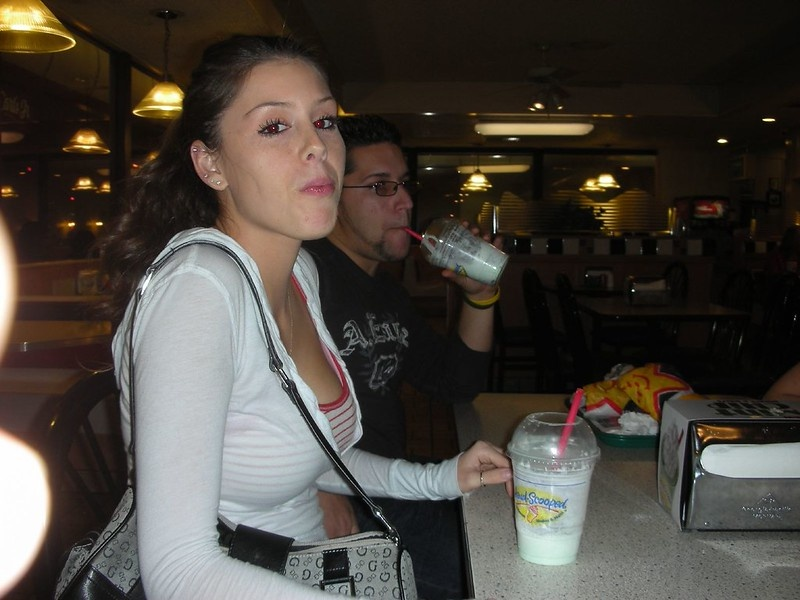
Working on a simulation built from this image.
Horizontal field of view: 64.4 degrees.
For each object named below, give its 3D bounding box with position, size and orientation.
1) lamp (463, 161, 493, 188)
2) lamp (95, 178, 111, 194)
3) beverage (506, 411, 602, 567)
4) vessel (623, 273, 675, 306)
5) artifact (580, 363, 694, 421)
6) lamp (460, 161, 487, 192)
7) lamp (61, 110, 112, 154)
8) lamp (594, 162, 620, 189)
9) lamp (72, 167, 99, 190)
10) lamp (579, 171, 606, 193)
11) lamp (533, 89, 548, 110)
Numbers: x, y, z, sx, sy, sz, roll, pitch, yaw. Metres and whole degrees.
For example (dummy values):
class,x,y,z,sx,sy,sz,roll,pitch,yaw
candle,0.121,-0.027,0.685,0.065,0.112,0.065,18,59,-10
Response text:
class,x,y,z,sx,sy,sz,roll,pitch,yaw
lamp,1.142,-1.789,9.274,0.376,0.353,0.358,-1,-13,5
lamp,-2.177,-0.833,4.661,0.110,0.093,0.104,5,-3,-25
beverage,0.195,0.307,1.046,0.210,0.268,0.207,2,-7,2
vessel,1.453,-0.051,3.705,0.244,0.155,0.170,-1,-4,4
artifact,0.526,0.202,1.442,0.181,0.055,0.158,-7,17,26
lamp,1.072,-1.797,9.291,0.401,0.376,0.382,-1,-11,3
lamp,-2.081,-1.107,4.289,0.267,0.256,0.272,-3,-7,10
lamp,3.187,-1.886,9.727,0.404,0.242,0.385,0,0,8
lamp,-2.244,-0.864,4.534,0.150,0.099,0.152,1,-4,-30
lamp,2.999,-1.799,9.822,0.336,0.254,0.412,3,8,35
lamp,1.265,-1.837,5.852,0.097,0.149,0.160,16,-27,16
